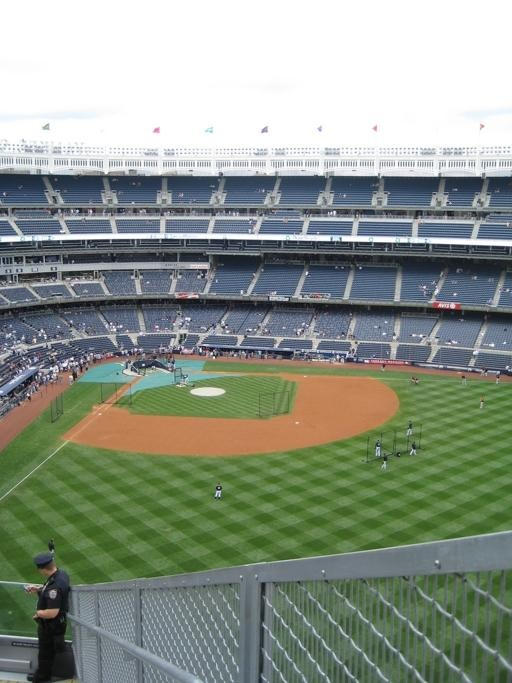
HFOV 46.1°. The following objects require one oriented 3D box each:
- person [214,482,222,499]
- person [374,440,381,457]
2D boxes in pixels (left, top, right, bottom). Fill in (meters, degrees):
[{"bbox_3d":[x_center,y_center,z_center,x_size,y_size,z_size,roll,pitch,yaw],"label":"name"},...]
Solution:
[{"bbox_3d":[-1.930,7.711,31.084,0.396,0.704,0.910,-2,10,-5],"label":"person"},{"bbox_3d":[7.503,6.563,37.001,0.366,0.842,1.236,1,10,11],"label":"person"}]
